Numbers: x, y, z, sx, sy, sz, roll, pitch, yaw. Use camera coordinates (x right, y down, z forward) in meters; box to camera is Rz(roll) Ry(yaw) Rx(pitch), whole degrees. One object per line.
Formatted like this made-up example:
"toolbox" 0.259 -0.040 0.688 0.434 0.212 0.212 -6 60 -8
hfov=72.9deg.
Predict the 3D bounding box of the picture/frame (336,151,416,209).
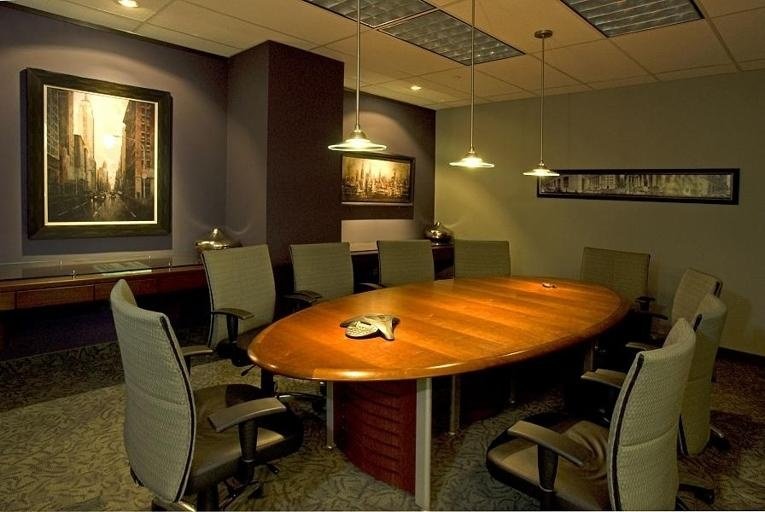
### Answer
"picture/frame" -0.036 -1.008 7.010 1.360 0.706 0.130 -12 20 -43

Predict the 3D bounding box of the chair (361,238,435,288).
"chair" 0.211 0.036 5.619 0.556 0.814 0.509 -1 0 -25

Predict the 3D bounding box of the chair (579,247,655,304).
"chair" 2.534 0.104 5.686 0.700 0.960 0.612 2 2 37
